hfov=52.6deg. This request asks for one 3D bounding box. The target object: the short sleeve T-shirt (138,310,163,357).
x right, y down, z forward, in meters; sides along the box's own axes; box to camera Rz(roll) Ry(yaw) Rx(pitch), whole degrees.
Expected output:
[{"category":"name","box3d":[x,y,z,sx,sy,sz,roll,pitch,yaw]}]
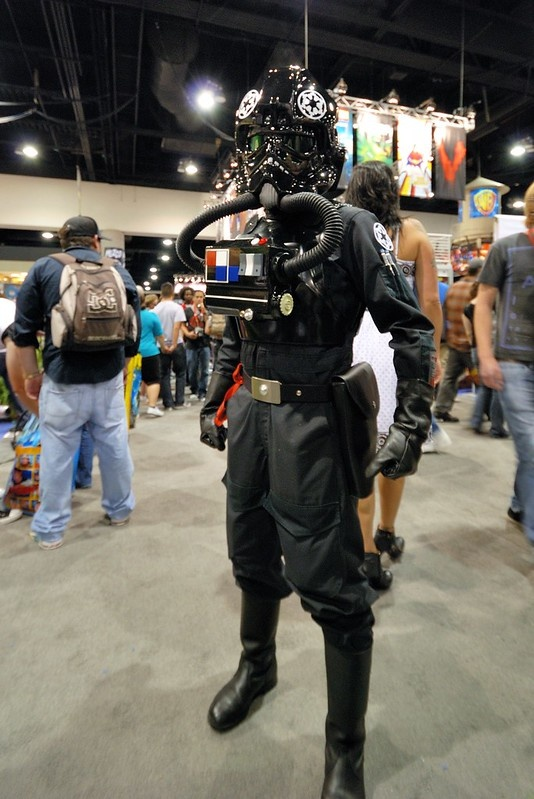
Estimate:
[{"category":"short sleeve T-shirt","box3d":[-1.315,-0.721,5.983,0.202,0.518,0.487,1,9,18]}]

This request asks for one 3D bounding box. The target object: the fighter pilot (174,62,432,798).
[{"category":"fighter pilot","box3d":[0.074,0.091,1.304,0.568,1.661,0.682,-1,1,-14]}]

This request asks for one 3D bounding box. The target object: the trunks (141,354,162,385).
[{"category":"trunks","box3d":[-1.331,-0.343,6.157,0.171,0.309,0.245,-11,26,-24]}]

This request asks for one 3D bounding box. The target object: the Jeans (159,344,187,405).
[{"category":"Jeans","box3d":[-1.210,-0.302,6.902,0.349,0.818,0.230,-4,7,-18]}]

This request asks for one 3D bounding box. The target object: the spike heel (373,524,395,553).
[{"category":"spike heel","box3d":[0.500,0.604,2.360,0.058,0.116,0.173,3,6,28]}]

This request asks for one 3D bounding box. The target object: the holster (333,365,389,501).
[{"category":"holster","box3d":[0.216,0.048,1.230,0.059,0.240,0.219,-4,12,28]}]
